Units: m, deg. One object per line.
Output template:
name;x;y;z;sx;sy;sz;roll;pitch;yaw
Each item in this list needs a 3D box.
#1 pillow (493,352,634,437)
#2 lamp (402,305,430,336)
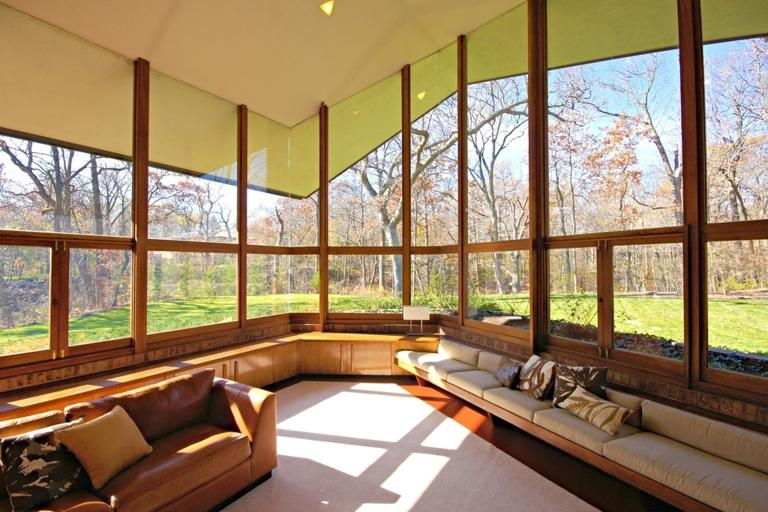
pillow;2.421;1.448;6.225;0.641;0.606;1.402;-24;17;-29
lamp;0.586;1.157;8.868;0.473;0.573;0.444;0;14;4
